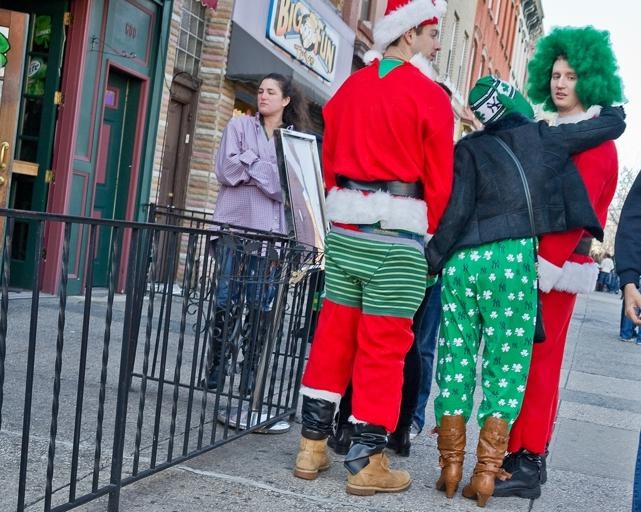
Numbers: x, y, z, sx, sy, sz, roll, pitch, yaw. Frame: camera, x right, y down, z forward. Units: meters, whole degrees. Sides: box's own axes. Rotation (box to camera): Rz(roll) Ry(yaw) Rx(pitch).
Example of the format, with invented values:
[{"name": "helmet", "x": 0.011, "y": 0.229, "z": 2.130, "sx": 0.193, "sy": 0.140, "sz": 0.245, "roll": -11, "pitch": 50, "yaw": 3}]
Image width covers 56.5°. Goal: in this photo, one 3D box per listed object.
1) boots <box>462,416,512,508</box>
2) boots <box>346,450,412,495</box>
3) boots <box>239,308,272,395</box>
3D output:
[{"name": "boots", "x": 0.855, "y": 1.010, "z": 2.947, "sx": 0.250, "sy": 0.431, "sz": 0.167, "roll": 6, "pitch": 3, "yaw": -31}, {"name": "boots", "x": 0.260, "y": 1.072, "z": 2.999, "sx": 0.351, "sy": 0.267, "sz": 0.150, "roll": 1, "pitch": -1, "yaw": -34}, {"name": "boots", "x": -0.384, "y": 0.566, "z": 3.247, "sx": 0.149, "sy": 0.556, "sz": 0.180, "roll": -6, "pitch": -45, "yaw": 3}]
